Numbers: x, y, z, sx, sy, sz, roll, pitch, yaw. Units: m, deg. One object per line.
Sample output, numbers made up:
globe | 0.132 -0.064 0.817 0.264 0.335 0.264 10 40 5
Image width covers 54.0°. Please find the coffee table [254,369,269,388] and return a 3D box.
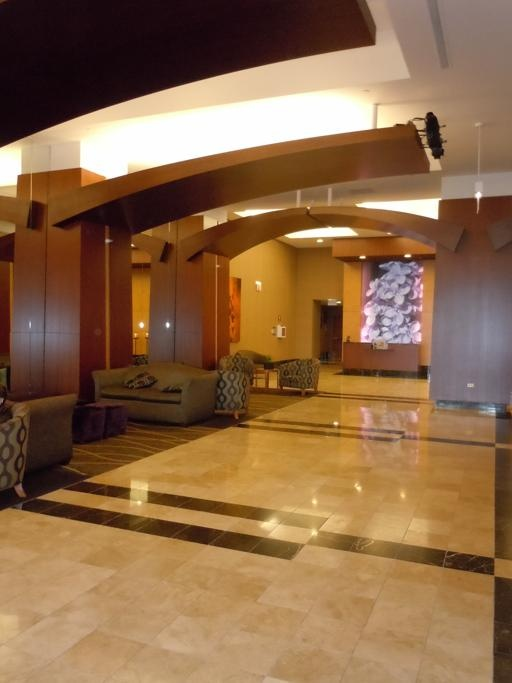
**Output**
coffee table | 0.139 1.032 14.210 0.498 0.563 0.398 0 -2 -12

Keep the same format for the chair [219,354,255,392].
chair | -0.459 0.678 11.127 0.723 0.884 0.838 1 4 8

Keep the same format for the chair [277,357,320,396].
chair | 1.078 0.781 12.045 0.806 0.830 0.793 4 4 41

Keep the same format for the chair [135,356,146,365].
chair | -2.734 0.424 11.805 0.131 0.160 0.108 -19 6 19

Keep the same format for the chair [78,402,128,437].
chair | -2.044 1.022 6.609 0.330 0.419 0.714 0 -2 10

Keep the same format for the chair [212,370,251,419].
chair | -0.413 0.868 8.453 0.585 0.872 0.719 2 2 2

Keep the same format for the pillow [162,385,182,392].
pillow | -1.289 0.733 7.808 0.472 0.113 0.183 1 0 39

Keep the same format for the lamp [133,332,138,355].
lamp | -2.886 0.031 12.020 0.093 0.540 0.084 0 0 -14

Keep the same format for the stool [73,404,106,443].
stool | -2.123 1.037 6.533 0.394 0.360 0.396 2 8 17

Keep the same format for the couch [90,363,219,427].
couch | -1.585 0.833 8.198 1.788 0.872 0.967 0 0 20
